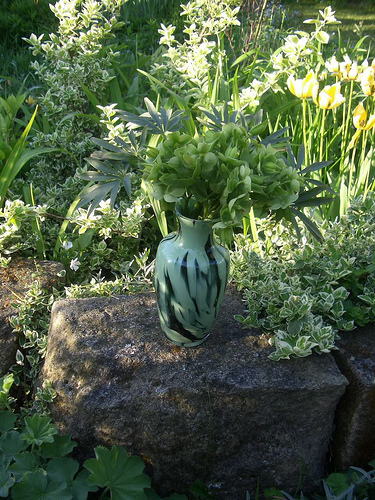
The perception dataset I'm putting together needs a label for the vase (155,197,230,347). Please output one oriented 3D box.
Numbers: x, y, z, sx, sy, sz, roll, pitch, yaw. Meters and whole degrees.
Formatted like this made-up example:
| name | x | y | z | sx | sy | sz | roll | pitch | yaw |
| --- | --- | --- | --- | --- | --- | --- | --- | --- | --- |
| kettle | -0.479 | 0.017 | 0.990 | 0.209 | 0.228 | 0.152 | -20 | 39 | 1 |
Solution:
| name | x | y | z | sx | sy | sz | roll | pitch | yaw |
| --- | --- | --- | --- | --- | --- | --- | --- | --- | --- |
| vase | 0.004 | 0.100 | 1.294 | 0.195 | 0.442 | 0.176 | 4 | 24 | -5 |
